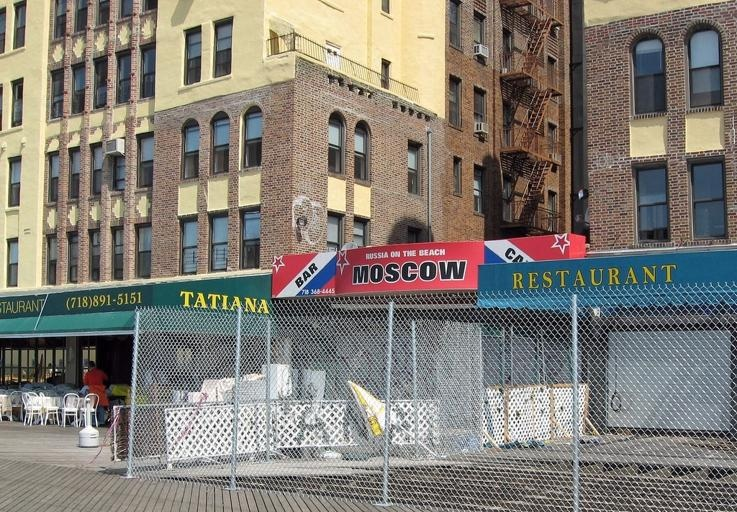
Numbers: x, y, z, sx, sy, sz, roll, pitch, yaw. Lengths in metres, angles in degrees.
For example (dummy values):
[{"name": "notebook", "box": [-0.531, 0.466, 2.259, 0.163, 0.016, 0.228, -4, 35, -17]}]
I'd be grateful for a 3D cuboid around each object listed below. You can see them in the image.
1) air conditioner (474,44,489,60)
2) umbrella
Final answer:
[{"name": "air conditioner", "box": [5.413, -9.797, 52.724, 0.416, 0.559, 0.797, -3, -10, 36]}, {"name": "umbrella", "box": [0.822, 4.700, 30.179, 1.906, 1.901, 4.658, -5, -11, 6]}]
